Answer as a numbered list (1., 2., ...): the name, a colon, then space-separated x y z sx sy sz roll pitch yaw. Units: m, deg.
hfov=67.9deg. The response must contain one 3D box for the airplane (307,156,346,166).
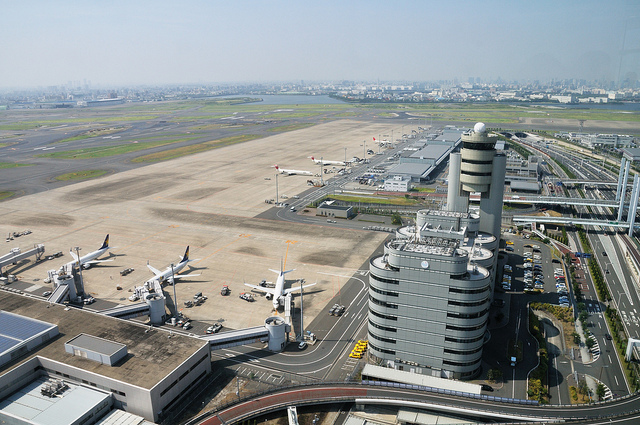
1. airplane: 3.495 -28.975 270.273 10.573 3.070 18.065 -13 20 -29

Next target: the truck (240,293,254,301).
1. truck: -20.207 23.535 131.958 2.292 1.136 3.407 -19 24 -39

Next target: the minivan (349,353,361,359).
1. minivan: 8.155 34.013 113.360 2.553 0.702 1.326 -2 19 2

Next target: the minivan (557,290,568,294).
1. minivan: 67.282 22.147 133.475 2.318 0.717 1.214 2 20 12

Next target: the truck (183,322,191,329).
1. truck: -33.908 29.042 121.921 1.285 0.406 1.482 12 38 25

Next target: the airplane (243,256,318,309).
1. airplane: -11.535 20.708 134.029 21.862 4.356 18.016 -1 23 0

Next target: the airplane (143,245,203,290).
1. airplane: -44.478 16.524 142.252 20.169 5.673 18.874 7 20 18

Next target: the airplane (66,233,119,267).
1. airplane: -72.008 12.674 151.624 9.920 6.113 24.330 -4 18 -4

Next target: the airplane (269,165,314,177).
1. airplane: -15.823 -22.419 253.459 14.980 2.868 9.217 0 22 4

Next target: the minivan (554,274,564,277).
1. minivan: 70.441 18.734 141.296 2.886 0.654 1.205 -3 19 -2

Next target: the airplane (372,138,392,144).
1. airplane: 42.832 -50.170 333.464 7.358 2.471 15.138 -8 18 -16
